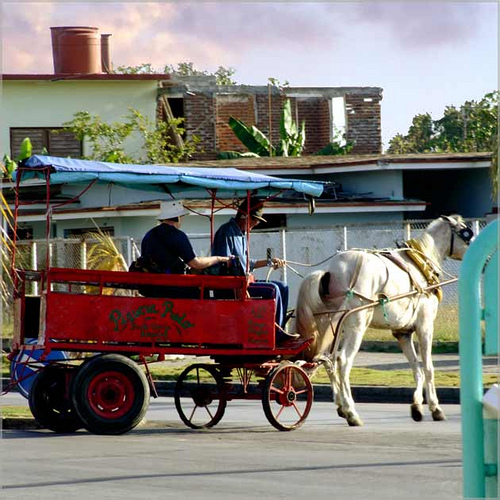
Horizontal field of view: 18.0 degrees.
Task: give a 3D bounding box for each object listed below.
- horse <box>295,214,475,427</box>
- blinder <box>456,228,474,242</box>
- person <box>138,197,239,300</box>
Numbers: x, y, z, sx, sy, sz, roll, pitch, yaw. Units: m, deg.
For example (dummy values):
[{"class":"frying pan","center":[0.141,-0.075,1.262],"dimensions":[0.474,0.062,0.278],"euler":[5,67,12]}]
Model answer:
[{"class":"horse","center":[2.058,0.930,22.340],"dimensions":[3.367,3.043,0.964],"euler":[3,-9,-39]},{"class":"blinder","center":[3.136,-0.204,23.100],"dimensions":[0.195,0.195,0.073],"euler":[-38,-2,6]},{"class":"person","center":[-0.940,-0.024,21.270],"dimensions":[1.246,1.210,0.945],"euler":[2,3,-42]}]
